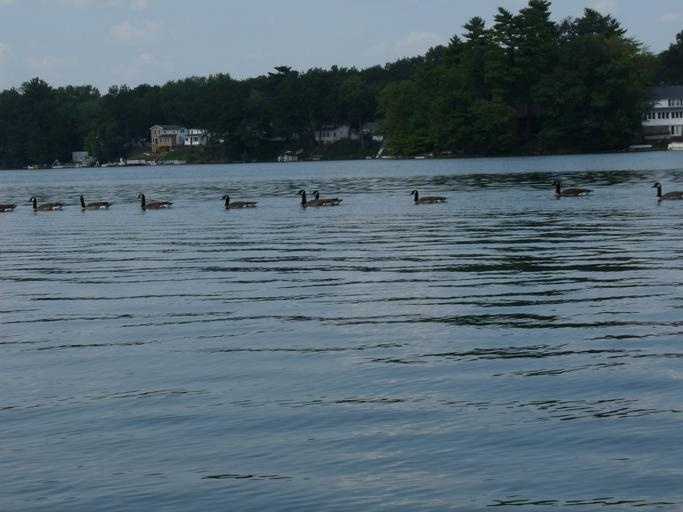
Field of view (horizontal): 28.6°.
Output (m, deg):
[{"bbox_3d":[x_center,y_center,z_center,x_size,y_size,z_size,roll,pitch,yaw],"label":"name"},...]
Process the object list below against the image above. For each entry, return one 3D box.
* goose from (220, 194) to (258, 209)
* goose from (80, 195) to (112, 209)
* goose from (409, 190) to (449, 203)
[{"bbox_3d":[-5.483,-2.868,71.519,1.649,0.648,1.650,1,5,0],"label":"goose"},{"bbox_3d":[-13.781,-2.924,74.759,1.498,0.549,1.547,0,5,-14],"label":"goose"},{"bbox_3d":[4.597,-3.171,71.442,1.557,0.635,2.989,1,5,-2],"label":"goose"}]
